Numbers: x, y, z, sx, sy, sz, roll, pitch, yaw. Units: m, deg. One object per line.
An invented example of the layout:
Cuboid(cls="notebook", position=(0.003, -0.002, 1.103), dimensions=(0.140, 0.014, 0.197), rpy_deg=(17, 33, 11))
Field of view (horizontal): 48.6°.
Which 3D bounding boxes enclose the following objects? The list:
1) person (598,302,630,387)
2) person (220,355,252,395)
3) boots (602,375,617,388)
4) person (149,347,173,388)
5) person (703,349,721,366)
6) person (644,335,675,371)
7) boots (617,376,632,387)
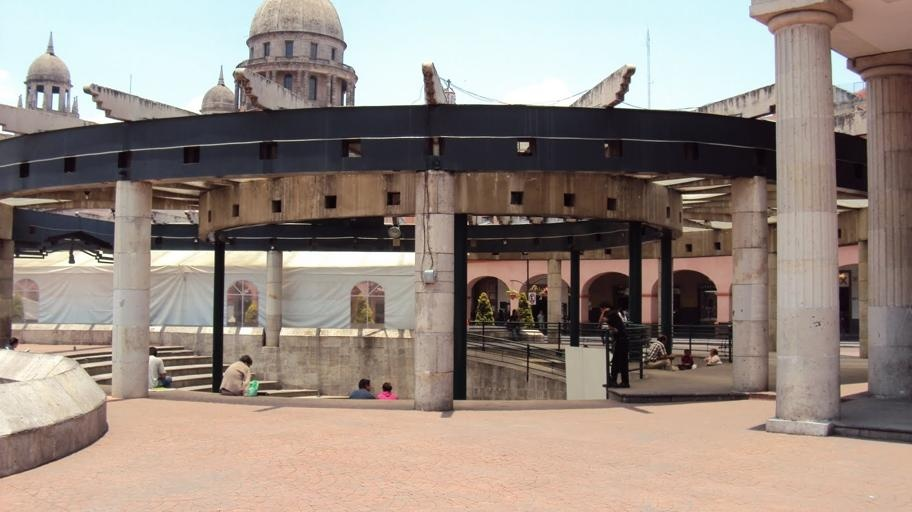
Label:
Cuboid(cls="person", position=(5.166, 2.937, 32.543), dimensions=(0.858, 2.595, 1.397), rpy_deg=(-1, -6, 9))
Cuboid(cls="person", position=(-7.002, 3.860, 32.429), dimensions=(1.134, 1.217, 0.955), rpy_deg=(6, 5, 33))
Cuboid(cls="boots", position=(5.032, 4.035, 32.185), dimensions=(0.378, 0.340, 0.774), rpy_deg=(-4, -7, 33))
Cuboid(cls="person", position=(-10.471, 3.971, 35.707), dimensions=(0.648, 1.393, 3.140), rpy_deg=(2, -6, -15))
Cuboid(cls="person", position=(9.952, 3.918, 38.809), dimensions=(0.529, 0.648, 1.768), rpy_deg=(-1, -6, 14))
Cuboid(cls="person", position=(7.864, 3.828, 38.574), dimensions=(1.210, 1.489, 1.009), rpy_deg=(-5, 12, -28))
Cuboid(cls="boots", position=(5.429, 4.064, 32.607), dimensions=(0.452, 0.363, 1.405), rpy_deg=(-1, -6, 10))
